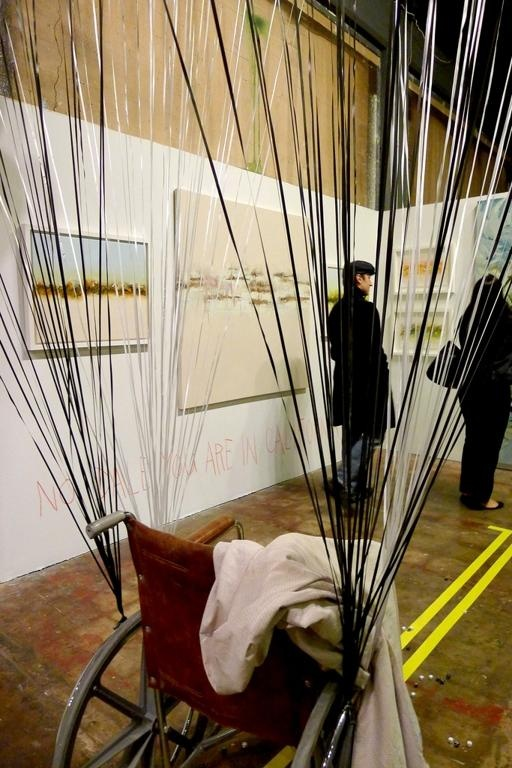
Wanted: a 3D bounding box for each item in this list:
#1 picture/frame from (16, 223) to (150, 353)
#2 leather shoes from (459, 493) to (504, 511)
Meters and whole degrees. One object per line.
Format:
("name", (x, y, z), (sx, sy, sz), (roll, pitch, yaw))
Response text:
("picture/frame", (-0.667, -0.364, 1.851), (0.047, 0.619, 0.471), (8, 12, 39))
("leather shoes", (1.505, 0.814, 3.256), (0.189, 0.098, 0.128), (3, 1, 27))
